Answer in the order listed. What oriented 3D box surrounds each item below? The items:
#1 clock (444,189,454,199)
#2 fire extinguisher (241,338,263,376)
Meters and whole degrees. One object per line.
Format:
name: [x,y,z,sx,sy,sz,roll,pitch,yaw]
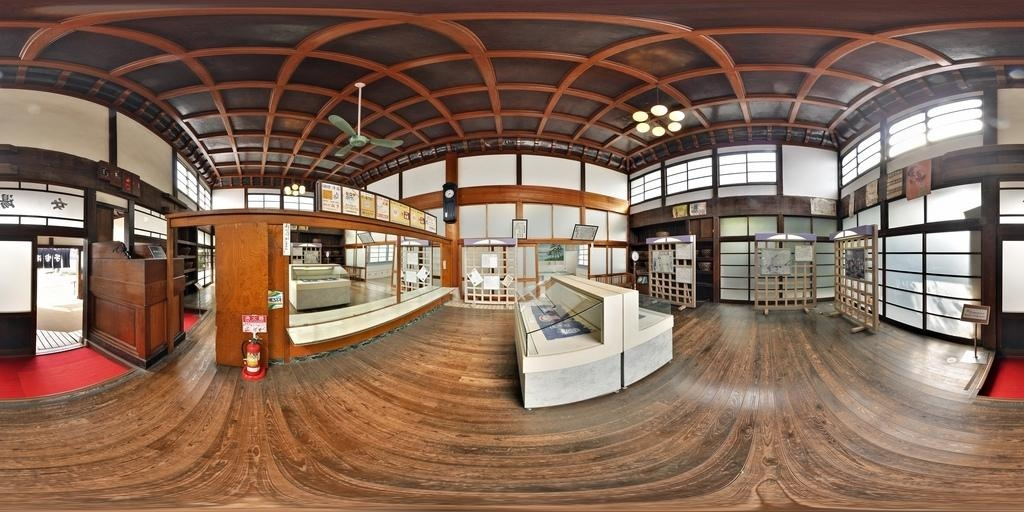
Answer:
clock: [-2.076,-2.063,16.575,0.395,0.257,0.076,1,4,7]
fire extinguisher: [-6.116,2.367,11.798,0.367,0.636,0.507,2,-1,-39]
